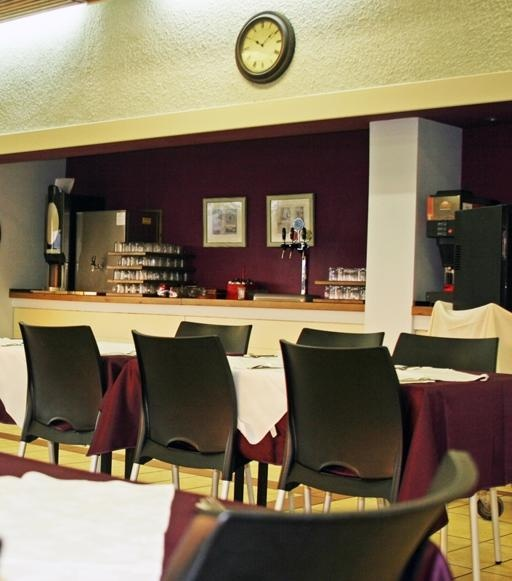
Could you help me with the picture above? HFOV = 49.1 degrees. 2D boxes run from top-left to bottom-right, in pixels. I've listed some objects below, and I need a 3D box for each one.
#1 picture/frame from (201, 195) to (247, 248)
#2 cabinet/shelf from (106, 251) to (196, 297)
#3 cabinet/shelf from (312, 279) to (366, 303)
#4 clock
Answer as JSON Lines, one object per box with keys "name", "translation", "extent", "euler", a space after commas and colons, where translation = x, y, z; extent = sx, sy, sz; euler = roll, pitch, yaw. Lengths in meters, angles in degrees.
{"name": "picture/frame", "translation": [-0.423, -0.924, 7.403], "extent": [0.547, 0.683, 0.032], "euler": [-2, 34, -6]}
{"name": "cabinet/shelf", "translation": [-1.369, -0.225, 7.273], "extent": [1.073, 0.545, 0.617], "euler": [0, 3, -10]}
{"name": "cabinet/shelf", "translation": [0.904, -0.007, 5.983], "extent": [0.513, 0.200, 0.760], "euler": [1, 3, 5]}
{"name": "clock", "translation": [0.053, -2.387, 5.455], "extent": [0.541, 0.789, 0.079], "euler": [0, -14, 15]}
